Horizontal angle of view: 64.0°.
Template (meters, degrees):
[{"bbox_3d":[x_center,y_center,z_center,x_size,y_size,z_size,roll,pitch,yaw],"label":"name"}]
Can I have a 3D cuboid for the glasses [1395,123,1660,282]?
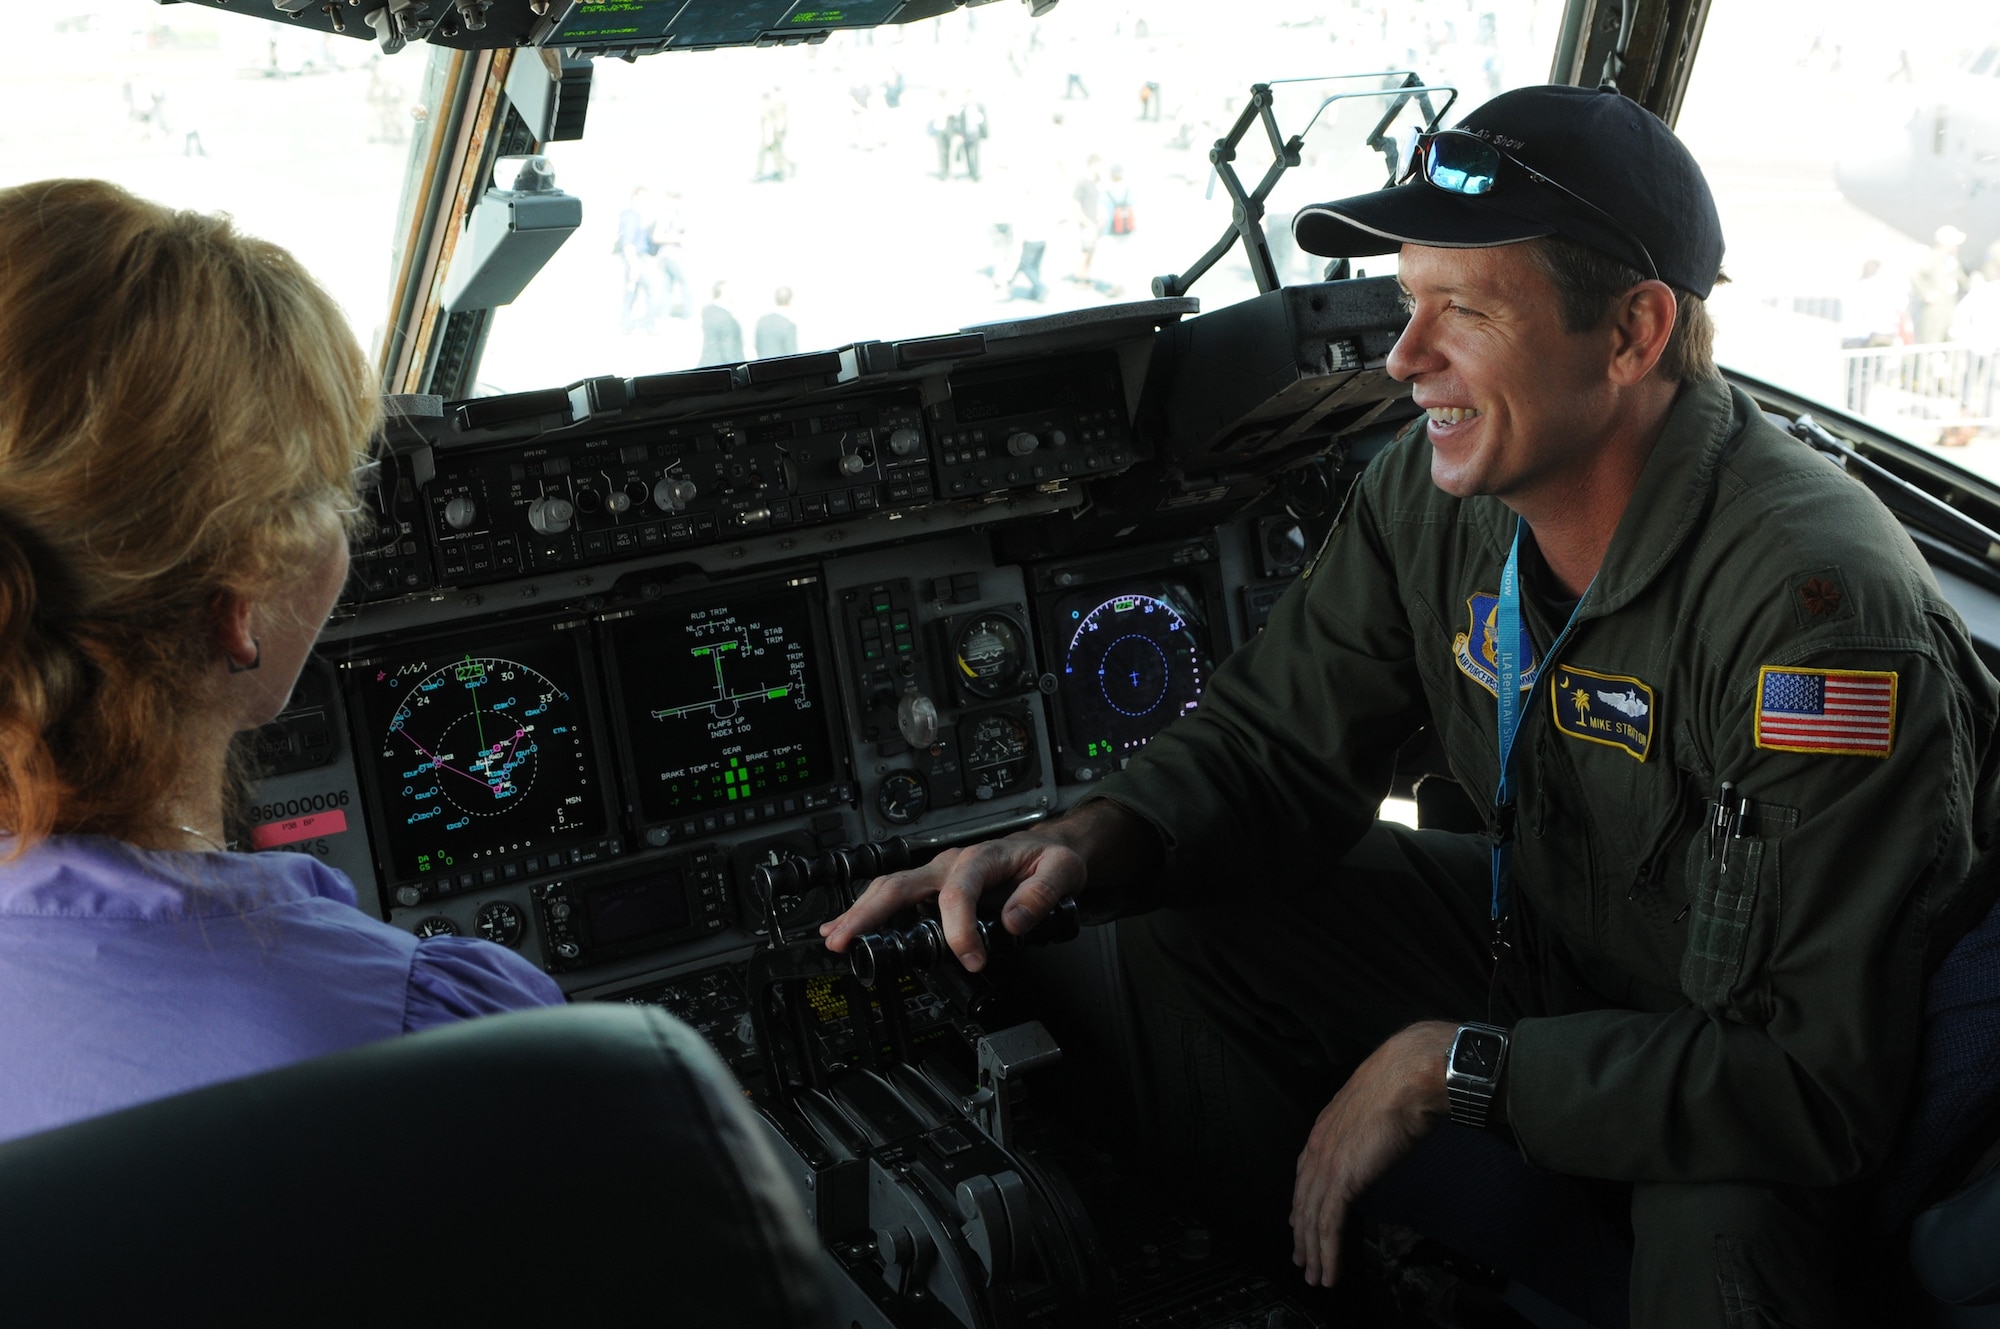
[{"bbox_3d":[0.778,-0.649,2.385,0.299,0.081,0.227,22,4,-22],"label":"glasses"}]

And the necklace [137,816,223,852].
[{"bbox_3d":[-0.756,0.151,1.489,0.046,0.031,0.045,1,-4,-10],"label":"necklace"}]

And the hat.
[{"bbox_3d":[0.783,-0.685,2.430,0.504,0.250,0.316,2,8,-4],"label":"hat"}]
